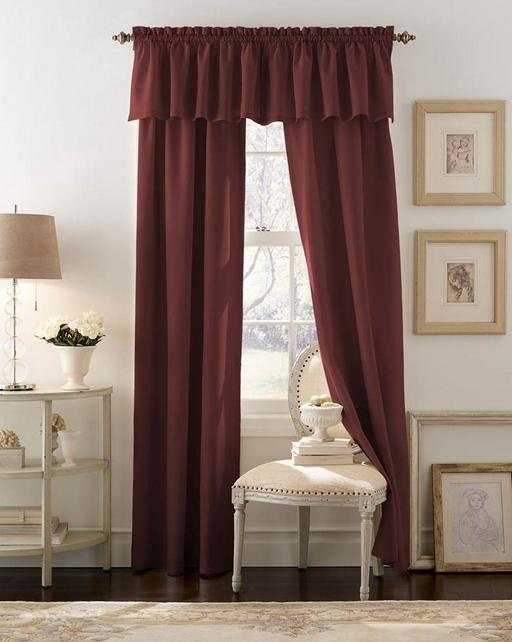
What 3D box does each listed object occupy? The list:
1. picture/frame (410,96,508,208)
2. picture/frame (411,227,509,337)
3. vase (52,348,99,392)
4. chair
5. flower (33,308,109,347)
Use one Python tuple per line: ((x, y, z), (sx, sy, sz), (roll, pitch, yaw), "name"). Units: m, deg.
((0.886, -0.733, 3.245), (0.393, 0.524, 0.035), (0, -1, -1), "picture/frame")
((0.886, -0.180, 3.252), (0.401, 0.556, 0.044), (0, 0, 0), "picture/frame")
((-0.753, 0.188, 3.096), (0.162, 0.200, 0.166), (3, 5, 7), "vase")
((0.212, 0.599, 2.955), (0.607, 0.977, 0.670), (1, 4, 10), "chair")
((-0.751, 0.048, 3.039), (0.170, 0.097, 0.177), (-1, 2, 35), "flower")
